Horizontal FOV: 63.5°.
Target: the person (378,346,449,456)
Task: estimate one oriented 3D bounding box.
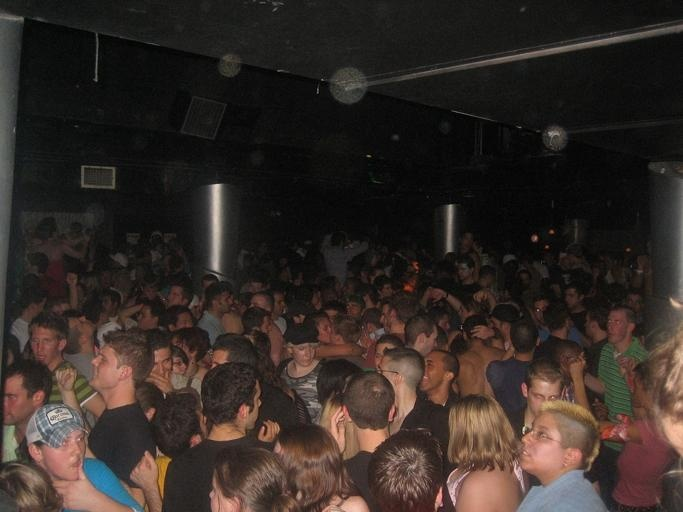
[{"bbox_3d":[0.463,1.011,3.944,0.424,0.753,0.888,1,0,19],"label":"person"}]

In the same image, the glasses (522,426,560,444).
[{"bbox_3d":[1.148,1.024,3.141,0.108,0.051,0.106,21,-26,-12],"label":"glasses"}]
